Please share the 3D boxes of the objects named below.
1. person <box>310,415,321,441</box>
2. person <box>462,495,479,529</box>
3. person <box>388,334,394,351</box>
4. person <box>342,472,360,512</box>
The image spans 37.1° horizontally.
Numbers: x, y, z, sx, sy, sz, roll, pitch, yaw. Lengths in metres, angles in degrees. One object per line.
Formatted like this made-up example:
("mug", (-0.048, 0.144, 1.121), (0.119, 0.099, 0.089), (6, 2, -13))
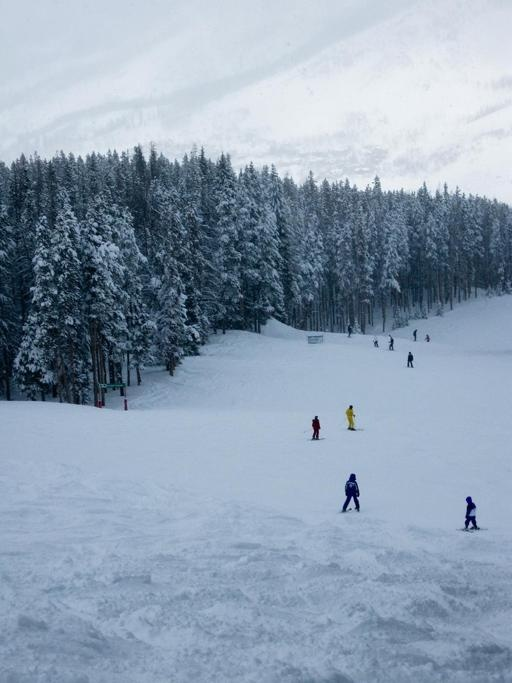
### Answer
("person", (2.076, 3.024, 26.413), (0.307, 0.792, 1.052), (2, 7, 4))
("person", (5.071, 3.964, 17.900), (0.323, 0.916, 1.220), (3, 7, 16))
("person", (9.128, 0.221, 51.454), (0.359, 0.892, 1.743), (3, 7, 10))
("person", (2.385, 3.684, 19.050), (0.458, 1.008, 1.069), (3, 7, 9))
